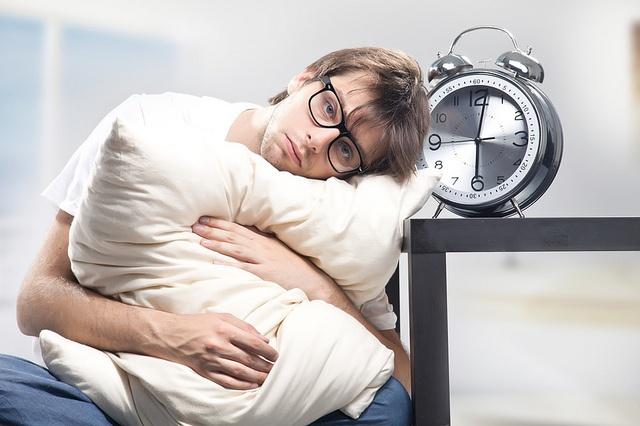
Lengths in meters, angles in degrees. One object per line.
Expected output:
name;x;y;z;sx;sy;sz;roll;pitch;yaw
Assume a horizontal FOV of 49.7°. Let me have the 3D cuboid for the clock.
clock;0.620;-0.293;2.508;0.502;0.624;0.231;5;11;7
